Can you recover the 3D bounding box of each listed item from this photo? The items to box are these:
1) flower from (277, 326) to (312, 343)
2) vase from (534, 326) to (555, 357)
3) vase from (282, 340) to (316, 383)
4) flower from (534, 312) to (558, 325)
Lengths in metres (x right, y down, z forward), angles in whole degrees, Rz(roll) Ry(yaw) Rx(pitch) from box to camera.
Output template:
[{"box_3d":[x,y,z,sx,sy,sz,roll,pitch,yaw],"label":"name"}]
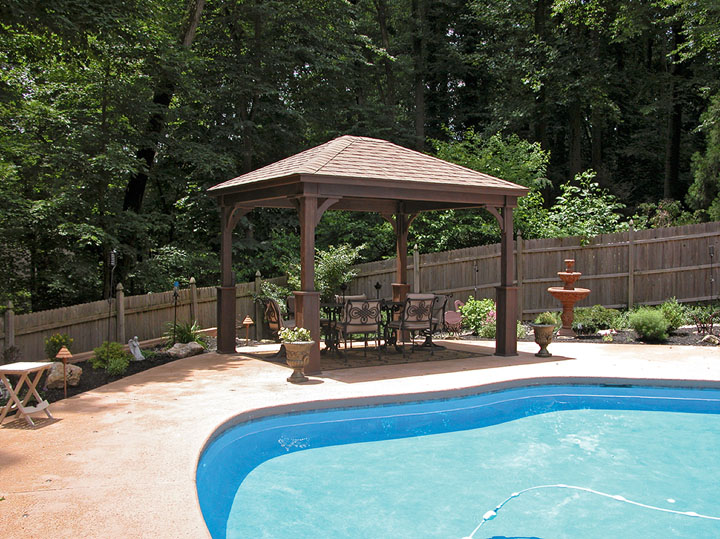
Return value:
[{"box_3d":[-1.089,1.124,11.569,0.556,0.267,0.327,8,12,20],"label":"flower"},{"box_3d":[3.671,1.437,13.929,0.527,0.679,0.548,0,-5,-5],"label":"vase"},{"box_3d":[-1.085,1.562,11.600,0.504,0.637,0.548,2,-5,-4],"label":"vase"},{"box_3d":[4.419,1.168,16.192,0.305,0.186,0.300,1,3,43],"label":"flower"}]
